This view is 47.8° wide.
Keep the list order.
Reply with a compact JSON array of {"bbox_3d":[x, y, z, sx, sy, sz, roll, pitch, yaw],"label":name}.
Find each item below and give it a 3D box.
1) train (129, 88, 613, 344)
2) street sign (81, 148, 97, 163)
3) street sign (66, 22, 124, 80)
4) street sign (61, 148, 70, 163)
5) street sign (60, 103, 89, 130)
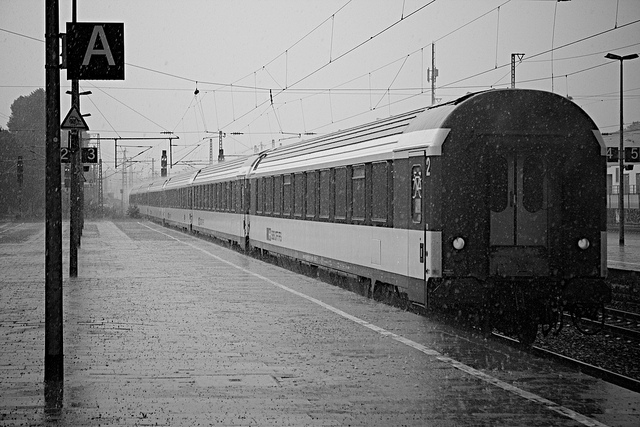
[{"bbox_3d":[-2.594,-1.093,34.028,4.072,5.494,43.699,0,4,-19],"label":"train"},{"bbox_3d":[-9.108,-2.255,28.447,0.693,0.652,0.265,-2,-5,2],"label":"street sign"},{"bbox_3d":[-3.441,-2.471,11.064,0.872,0.884,0.094,-2,-8,-8],"label":"street sign"},{"bbox_3d":[-7.753,-1.752,22.003,0.204,0.438,0.806,0,4,-21],"label":"street sign"},{"bbox_3d":[-6.402,-2.495,18.865,0.739,0.661,0.078,0,4,1],"label":"street sign"}]
